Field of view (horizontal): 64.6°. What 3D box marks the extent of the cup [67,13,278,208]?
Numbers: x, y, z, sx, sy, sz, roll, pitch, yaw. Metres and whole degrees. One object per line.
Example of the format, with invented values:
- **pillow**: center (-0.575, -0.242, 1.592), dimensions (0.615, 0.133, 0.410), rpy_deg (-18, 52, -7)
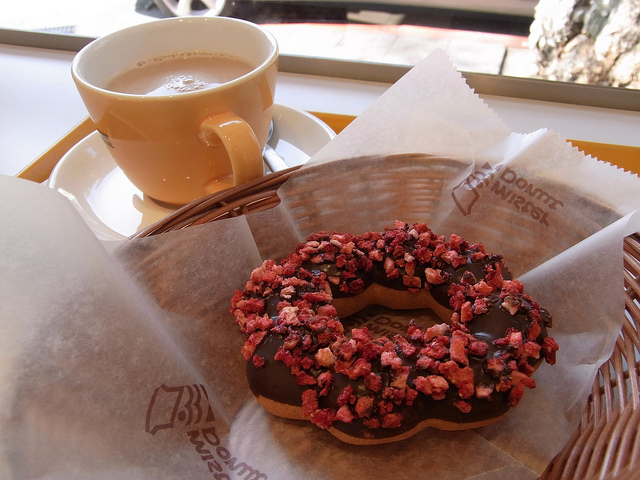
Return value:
- **cup**: center (-0.220, -0.193, 0.866), dimensions (0.324, 0.247, 0.370), rpy_deg (-17, 47, -20)
